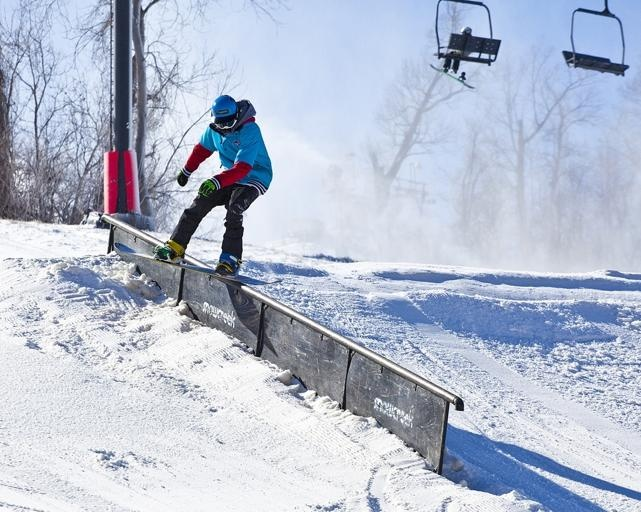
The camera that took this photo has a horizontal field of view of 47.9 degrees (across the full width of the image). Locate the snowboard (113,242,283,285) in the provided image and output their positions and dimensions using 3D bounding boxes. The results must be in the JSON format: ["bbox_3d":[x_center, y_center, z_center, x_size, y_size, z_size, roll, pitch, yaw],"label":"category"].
[{"bbox_3d":[-1.655,0.113,9.360,1.849,0.264,0.109,18,37,25],"label":"snowboard"}]

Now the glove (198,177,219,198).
[{"bbox_3d":[-1.200,-0.752,7.876,0.228,0.227,0.344,4,6,-10],"label":"glove"}]

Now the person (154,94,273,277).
[{"bbox_3d":[-1.127,-0.782,8.082,1.040,1.969,0.740,6,5,16],"label":"person"}]

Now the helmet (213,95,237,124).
[{"bbox_3d":[-1.025,-1.587,7.829,0.282,0.299,0.174,4,5,-10],"label":"helmet"}]
